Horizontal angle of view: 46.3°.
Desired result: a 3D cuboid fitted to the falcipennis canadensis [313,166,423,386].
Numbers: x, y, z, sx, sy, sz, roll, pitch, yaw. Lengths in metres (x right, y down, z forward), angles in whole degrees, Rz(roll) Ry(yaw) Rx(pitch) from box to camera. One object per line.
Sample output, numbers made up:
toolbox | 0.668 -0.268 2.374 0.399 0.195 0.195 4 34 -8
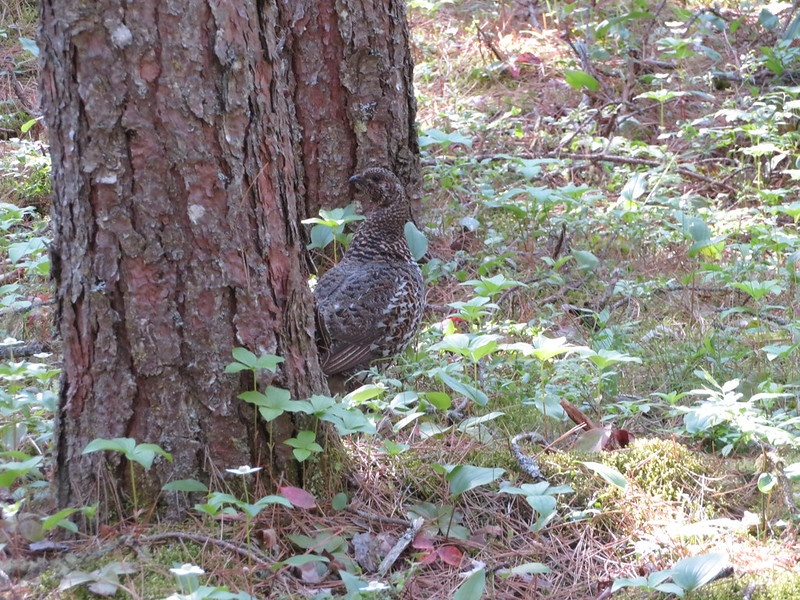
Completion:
falcipennis canadensis | -0.252 -0.176 6.739 0.677 1.468 0.946 1 12 24
